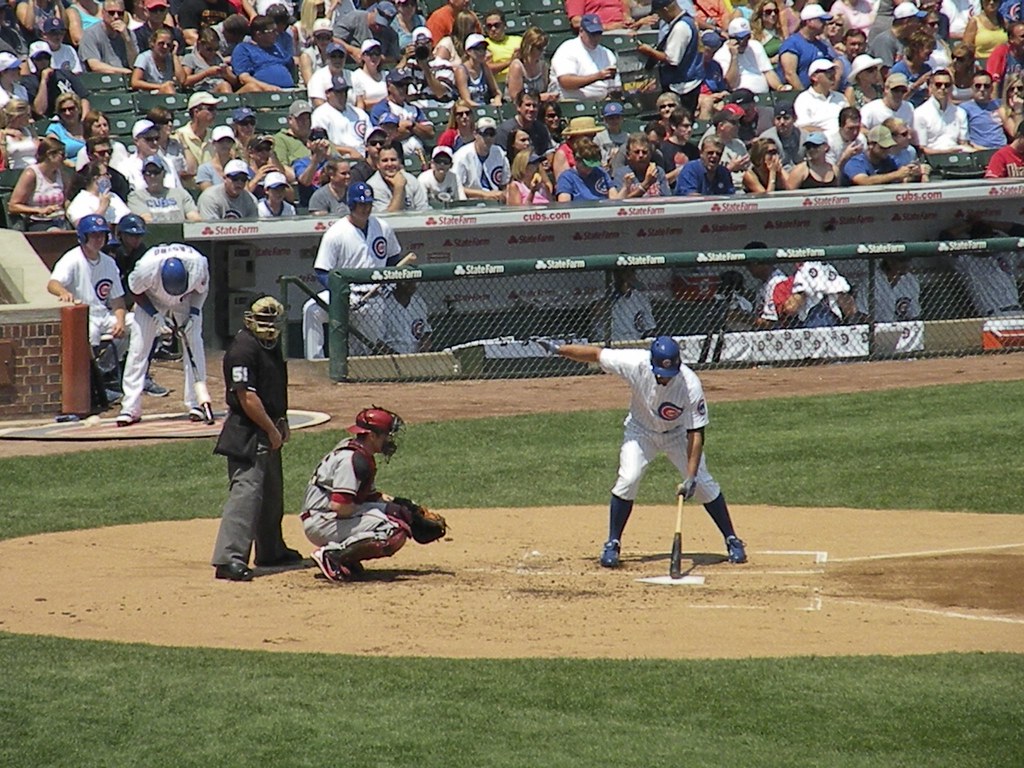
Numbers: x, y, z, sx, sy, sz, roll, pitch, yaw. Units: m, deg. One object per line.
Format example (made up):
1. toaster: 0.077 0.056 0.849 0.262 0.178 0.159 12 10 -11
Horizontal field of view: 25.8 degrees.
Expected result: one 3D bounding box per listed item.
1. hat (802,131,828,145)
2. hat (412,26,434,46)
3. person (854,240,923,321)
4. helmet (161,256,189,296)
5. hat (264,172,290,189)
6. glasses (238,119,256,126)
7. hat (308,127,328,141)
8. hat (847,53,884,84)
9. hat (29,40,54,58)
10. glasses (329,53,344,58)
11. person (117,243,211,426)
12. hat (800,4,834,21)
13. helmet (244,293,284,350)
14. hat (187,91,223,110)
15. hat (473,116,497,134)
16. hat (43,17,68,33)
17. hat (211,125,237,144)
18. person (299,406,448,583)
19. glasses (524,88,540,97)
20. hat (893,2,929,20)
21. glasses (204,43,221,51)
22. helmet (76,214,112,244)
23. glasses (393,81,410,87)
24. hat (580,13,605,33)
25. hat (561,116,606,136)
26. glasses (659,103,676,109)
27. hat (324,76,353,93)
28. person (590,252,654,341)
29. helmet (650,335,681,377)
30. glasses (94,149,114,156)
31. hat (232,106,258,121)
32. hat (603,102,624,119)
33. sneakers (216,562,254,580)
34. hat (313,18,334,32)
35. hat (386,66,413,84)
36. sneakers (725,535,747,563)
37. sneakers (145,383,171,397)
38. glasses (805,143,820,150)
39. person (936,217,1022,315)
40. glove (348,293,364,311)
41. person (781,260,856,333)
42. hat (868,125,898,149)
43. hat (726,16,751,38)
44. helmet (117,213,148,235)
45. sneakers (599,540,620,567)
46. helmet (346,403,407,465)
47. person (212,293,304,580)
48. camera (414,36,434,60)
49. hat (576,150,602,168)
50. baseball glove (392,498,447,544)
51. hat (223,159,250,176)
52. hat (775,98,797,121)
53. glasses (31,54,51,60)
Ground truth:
1. hat: 3.719 -3.018 27.466 0.282 0.150 0.374 0 -1 7
2. hat: -1.129 -4.464 28.466 0.185 0.275 0.280 0 -2 -2
3. person: 4.500 -1.129 26.724 0.770 0.773 0.262 -1 6 -30
4. helmet: -3.470 -1.103 23.110 0.302 0.382 0.322 -8 21 -32
5. hat: -2.730 -2.360 25.919 0.277 0.145 0.352 0 -1 -7
6. glasses: -3.091 -3.096 26.237 0.107 0.081 0.177 2 14 -25
7. hat: -2.274 -2.999 26.483 0.174 0.192 0.131 2 14 -20
8. hat: 4.558 -4.155 29.034 0.344 0.158 0.385 -26 -3 -13
9. hat: -5.605 -4.029 26.757 0.298 0.174 0.431 1 3 -14
10. glasses: -2.104 -4.007 27.156 0.092 0.068 0.153 2 11 -14
11. person: -3.605 -0.491 23.378 0.999 1.403 0.856 0 0 -8
12. hat: 3.973 -4.947 29.582 0.306 0.167 0.223 -8 13 16
13. helmet: -2.130 -0.563 19.360 0.348 0.407 0.417 -9 23 -28
14. hat: -3.633 -3.343 26.191 0.288 0.137 0.205 -5 8 9
15. hat: -0.324 -3.105 26.753 0.340 0.183 0.543 -1 2 -6
16. hat: -5.559 -4.415 27.281 0.255 0.250 0.544 0 -1 -14
17. hat: -3.306 -2.881 25.804 0.323 0.184 0.466 -1 -1 -12
18. person: -1.150 1.018 19.393 1.268 1.476 0.882 -1 5 -25
19. glasses: 0.241 -3.504 26.670 0.124 0.063 0.167 33 6 -28
20. hat: 5.344 -5.006 29.828 0.426 0.162 0.281 -6 17 -22
21. glasses: -3.749 -4.249 27.993 0.122 0.095 0.125 3 8 0
22. helmet: -4.489 -1.661 23.950 0.318 0.252 0.240 24 7 24
23. glasses: -1.338 -3.719 27.544 0.153 0.073 0.096 4 11 -6
24. hat: 1.006 -4.640 28.465 0.202 0.161 0.296 1 19 -24
25. hat: 0.827 -3.134 27.226 0.515 0.219 0.883 0 -1 7
26. glasses: 1.901 -3.399 27.319 0.235 0.076 0.126 0 -1 20
27. hat: -2.116 -3.648 27.133 0.223 0.122 0.325 -4 16 -19
28. person: 1.306 -0.870 26.067 0.748 0.724 0.296 0 0 -2
29. helmet: 1.310 -0.185 19.227 0.232 0.345 0.175 -1 -19 -3
30. glasses: -4.592 -2.604 25.310 0.107 0.055 0.292 0 -1 13
31. hat: -3.154 -3.176 26.273 0.178 0.132 0.257 -4 7 -19
32. hat: 1.224 -3.355 27.199 0.206 0.199 0.558 0 -1 7
33. sneakers: -2.373 1.671 19.215 0.323 0.146 0.122 0 10 8
34. hat: -2.395 -4.583 28.363 0.307 0.177 0.483 -2 7 -4
35. hat: -1.400 -3.845 27.755 0.307 0.268 0.603 0 -1 -2
36. sneakers: 1.963 1.517 19.638 0.110 0.139 0.292 -3 14 -8
37. sneakers: -3.955 0.103 24.939 0.309 0.142 0.115 11 31 17
38. glasses: 3.653 -2.915 27.340 0.098 0.074 0.163 -13 -15 32
39. person: 5.866 -1.360 27.709 1.220 1.283 0.325 -1 9 7
40. glove: -1.761 -0.904 25.353 0.179 0.187 0.043 6 1 -44
41. person: 3.589 -1.006 26.321 0.767 0.817 0.288 -7 8 -4
42. hat: 4.580 -3.070 27.715 0.312 0.187 0.220 18 23 41
43. hat: 2.981 -4.733 29.506 0.248 0.201 0.343 -7 11 -22
44. helmet: -4.090 -1.714 24.041 0.201 0.162 0.269 -1 3 -38
45. sneakers: 0.859 1.549 19.562 0.186 0.256 0.578 0 -4 3
46. helmet: -1.144 0.459 19.316 0.510 0.502 0.416 -4 11 -20
47. person: -2.213 0.509 19.369 0.583 1.832 0.761 0 0 14
48. camera: -1.108 -4.289 28.378 0.221 0.258 0.256 6 -1 -2
49. hat: 0.916 -2.689 26.628 0.186 0.253 0.252 -5 -2 -11
50. baseball glove: -0.815 1.222 19.354 0.481 0.253 0.303 35 45 -4
51. hat: -3.122 -2.460 25.463 0.226 0.174 0.379 6 -10 -13
52. hat: 3.397 -3.427 27.662 0.267 0.300 0.376 0 -4 2
53. glasses: -5.583 -3.927 26.611 0.225 0.084 0.151 0 -1 -22
